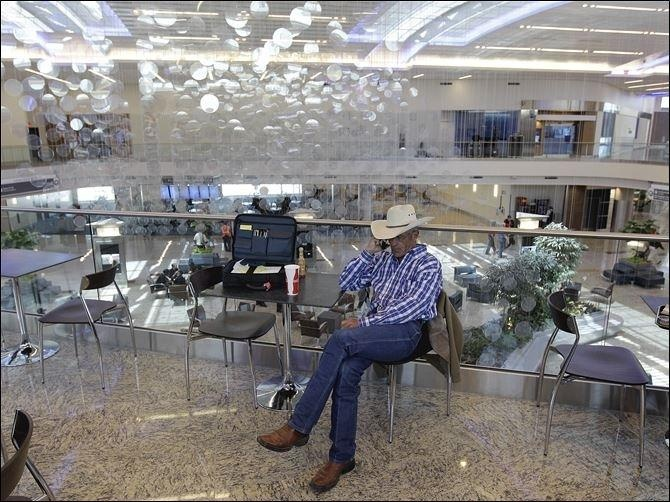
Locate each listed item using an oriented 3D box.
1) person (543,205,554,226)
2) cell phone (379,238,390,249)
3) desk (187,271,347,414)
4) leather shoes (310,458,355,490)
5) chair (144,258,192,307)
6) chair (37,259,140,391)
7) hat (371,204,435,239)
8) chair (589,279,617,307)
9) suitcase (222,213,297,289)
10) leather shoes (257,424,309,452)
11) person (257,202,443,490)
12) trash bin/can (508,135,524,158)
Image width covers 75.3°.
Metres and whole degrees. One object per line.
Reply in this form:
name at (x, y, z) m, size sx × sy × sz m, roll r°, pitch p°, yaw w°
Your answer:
person at (12.387, -2.057, 24.843) m, size 0.473 × 0.955 × 2.653 m, roll 3°, pitch 9°, yaw 26°
cell phone at (0.327, -0.044, 2.866) m, size 0.063 × 0.056 × 0.105 m, roll 2°, pitch -2°, yaw 4°
desk at (-0.490, 0.546, 3.183) m, size 1.098 × 0.926 × 0.865 m, roll 2°, pitch 14°, yaw 6°
leather shoes at (-0.007, 1.205, 2.409) m, size 0.107 × 0.112 × 0.265 m, roll 3°, pitch 3°, yaw 45°
chair at (-1.381, 0.267, 3.621) m, size 0.448 × 0.317 × 0.162 m, roll 0°, pitch -6°, yaw 21°
chair at (-2.022, 0.625, 3.599) m, size 0.674 × 1.118 × 0.628 m, roll 12°, pitch 14°, yaw 2°
hat at (0.420, -0.189, 2.725) m, size 0.286 × 0.109 × 0.269 m, roll -29°, pitch 15°, yaw -35°
chair at (1.816, 0.281, 2.908) m, size 0.157 × 0.165 × 0.129 m, roll 8°, pitch 14°, yaw 41°
suitcase at (-0.503, -0.004, 3.045) m, size 0.614 × 0.558 × 0.494 m, roll 3°, pitch 12°, yaw 6°
leather shoes at (-0.271, 1.045, 2.446) m, size 0.293 × 0.127 × 0.138 m, roll 12°, pitch 6°, yaw -24°
person at (0.163, 0.497, 2.586) m, size 1.138 × 1.501 × 0.572 m, roll -11°, pitch 13°, yaw -43°
trash bin/can at (10.631, -6.055, 25.259) m, size 0.758 × 1.282 × 1.285 m, roll 2°, pitch 10°, yaw 21°
